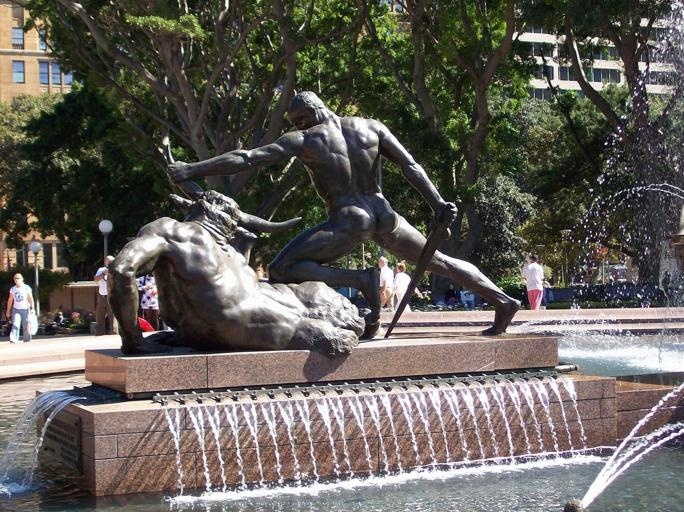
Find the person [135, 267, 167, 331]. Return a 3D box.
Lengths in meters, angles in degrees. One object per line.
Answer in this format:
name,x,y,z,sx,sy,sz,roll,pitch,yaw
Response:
person,-4.240,1.053,24.734,0.438,1.426,2.121,-1,6,-10

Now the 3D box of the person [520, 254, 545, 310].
person,4.787,0.683,28.196,0.470,1.515,0.454,4,17,17
